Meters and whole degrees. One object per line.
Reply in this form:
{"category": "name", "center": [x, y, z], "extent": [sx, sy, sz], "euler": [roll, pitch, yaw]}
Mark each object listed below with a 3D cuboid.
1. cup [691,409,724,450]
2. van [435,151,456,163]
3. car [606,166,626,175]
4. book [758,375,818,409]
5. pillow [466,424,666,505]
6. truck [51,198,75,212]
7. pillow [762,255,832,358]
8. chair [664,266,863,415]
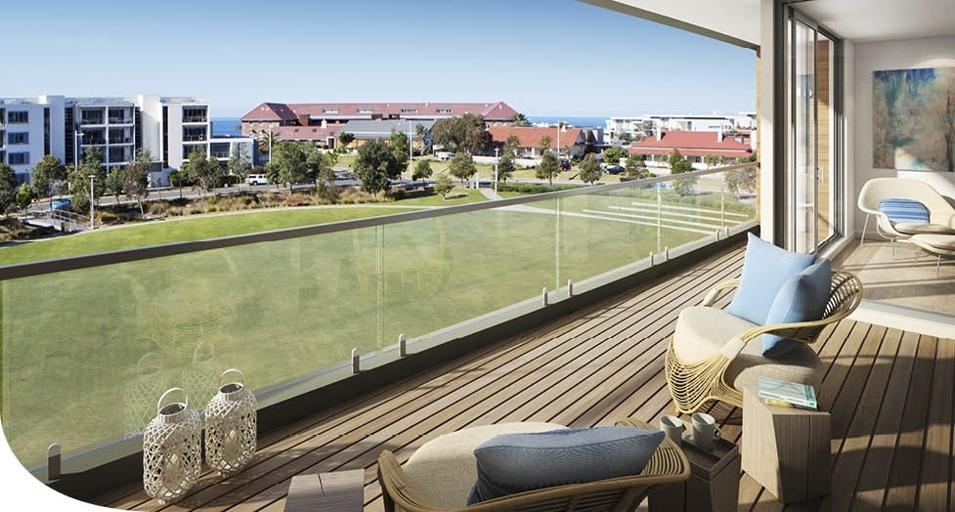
{"category": "cup", "center": [1.554, 1.221, 3.810], "extent": [0.295, 0.233, 0.194], "euler": [1, 4, 39]}
{"category": "van", "center": [-4.440, -13.634, 74.289], "extent": [2.350, 1.016, 1.525], "euler": [0, 10, 11]}
{"category": "car", "center": [18.352, -11.412, 71.857], "extent": [1.838, 0.737, 1.151], "euler": [9, 15, 43]}
{"category": "book", "center": [2.306, 1.006, 3.990], "extent": [0.293, 0.058, 0.263], "euler": [4, 8, -2]}
{"category": "pillow", "center": [0.503, 1.203, 3.061], "extent": [0.773, 0.487, 0.277], "euler": [-1, 19, -10]}
{"category": "truck", "center": [-42.212, -5.155, 54.745], "extent": [2.162, 0.974, 1.237], "euler": [-1, 14, -1]}
{"category": "pillow", "center": [2.653, 0.417, 4.520], "extent": [0.427, 0.629, 0.785], "euler": [-7, -23, 16]}
{"category": "chair", "center": [2.329, 0.672, 4.803], "extent": [1.753, 0.986, 1.225], "euler": [2, 13, 8]}
